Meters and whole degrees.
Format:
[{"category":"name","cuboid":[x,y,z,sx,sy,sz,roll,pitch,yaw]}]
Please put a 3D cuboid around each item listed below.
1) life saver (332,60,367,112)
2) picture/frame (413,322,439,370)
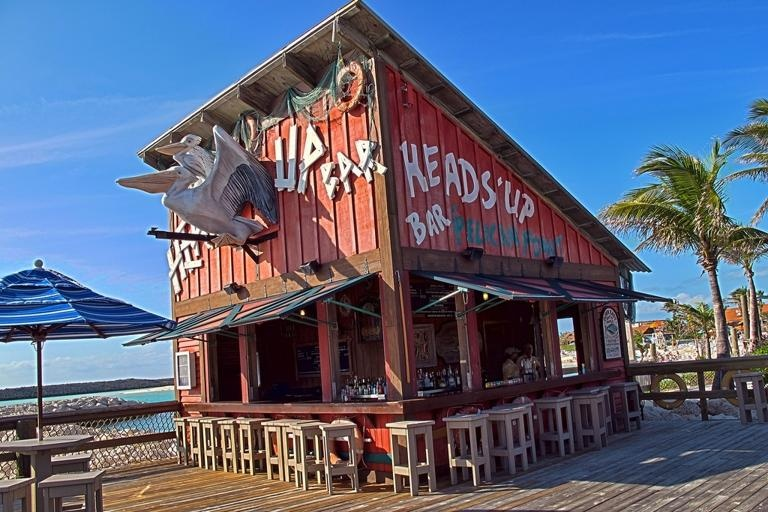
[{"category":"life saver","cuboid":[-0.783,-3.958,16.033,0.259,1.107,0.936,4,-12,-40]},{"category":"picture/frame","cuboid":[1.073,2.304,17.781,0.161,1.122,0.774,-12,-12,40]}]
